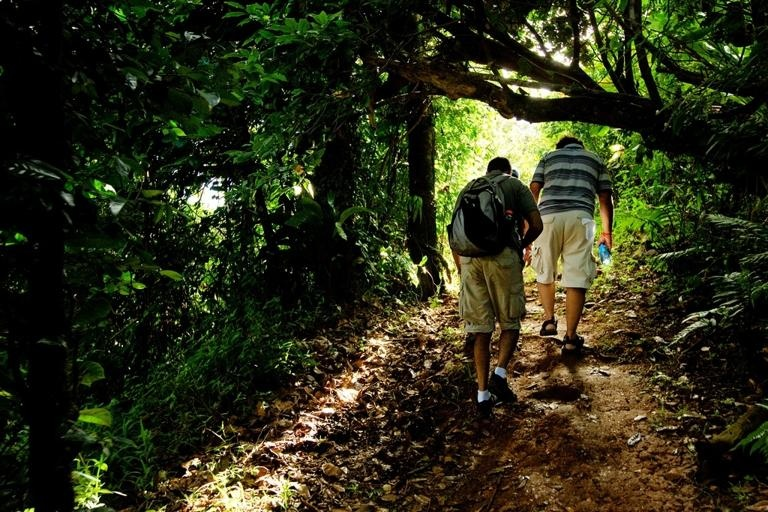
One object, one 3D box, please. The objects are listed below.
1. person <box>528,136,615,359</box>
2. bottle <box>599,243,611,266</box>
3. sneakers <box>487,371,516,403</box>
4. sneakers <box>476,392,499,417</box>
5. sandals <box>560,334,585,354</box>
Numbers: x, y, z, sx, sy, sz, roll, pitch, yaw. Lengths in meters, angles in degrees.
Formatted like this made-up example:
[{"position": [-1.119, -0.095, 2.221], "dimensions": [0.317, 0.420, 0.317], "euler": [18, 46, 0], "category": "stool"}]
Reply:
[{"position": [1.930, -0.263, 6.344], "dimensions": [0.885, 2.505, 0.629], "euler": [-6, -27, 40], "category": "person"}, {"position": [2.234, -0.009, 5.923], "dimensions": [0.088, 0.230, 0.212], "euler": [-5, 12, 13], "category": "bottle"}, {"position": [1.110, 1.238, 5.540], "dimensions": [0.240, 0.330, 0.177], "euler": [-2, 14, 28], "category": "sneakers"}, {"position": [0.968, 1.364, 5.537], "dimensions": [0.197, 0.239, 0.272], "euler": [-7, 12, 6], "category": "sneakers"}, {"position": [1.927, 0.873, 5.965], "dimensions": [0.238, 0.184, 0.162], "euler": [-7, 12, 4], "category": "sandals"}]
